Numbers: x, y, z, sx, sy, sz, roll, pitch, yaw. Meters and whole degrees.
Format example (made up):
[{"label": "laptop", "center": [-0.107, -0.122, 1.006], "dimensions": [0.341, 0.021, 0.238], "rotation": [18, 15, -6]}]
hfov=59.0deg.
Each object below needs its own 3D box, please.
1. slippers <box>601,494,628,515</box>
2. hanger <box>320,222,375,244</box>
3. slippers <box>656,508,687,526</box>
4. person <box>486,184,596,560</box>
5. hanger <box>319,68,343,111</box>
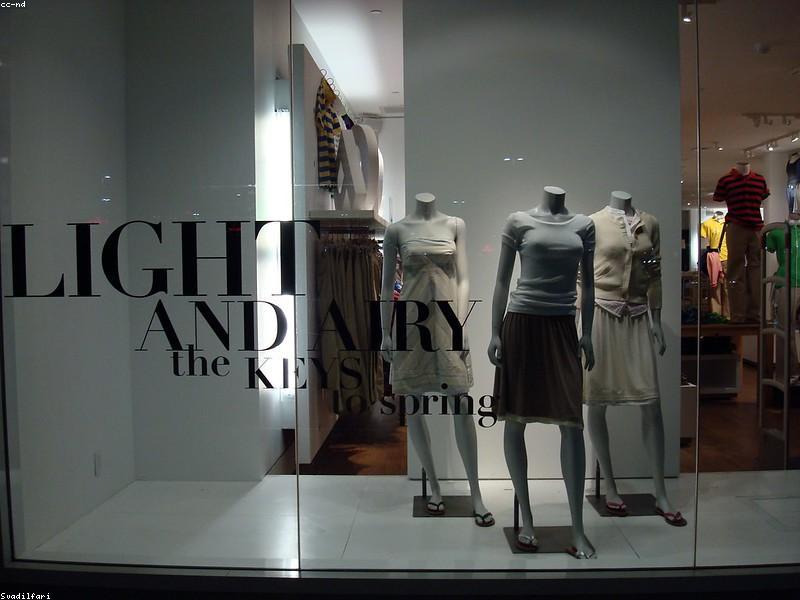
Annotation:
[{"label": "slippers", "center": [1.087, 1.037, 3.581], "dimensions": [0.070, 0.038, 0.134], "rotation": [1, -5, -10]}, {"label": "hanger", "center": [-0.262, -0.334, 3.591], "dimensions": [0.282, 0.092, 0.018], "rotation": [-1, 2, 7]}, {"label": "slippers", "center": [1.394, 1.104, 3.596], "dimensions": [0.072, 0.028, 0.143], "rotation": [-10, 9, -31]}, {"label": "person", "center": [0.713, 0.352, 3.527], "dimensions": [0.510, 1.808, 0.137], "rotation": [0, 2, 15]}, {"label": "hanger", "center": [-0.357, -1.070, 3.646], "dimensions": [0.045, 0.186, 0.126], "rotation": [-23, -6, 21]}]
